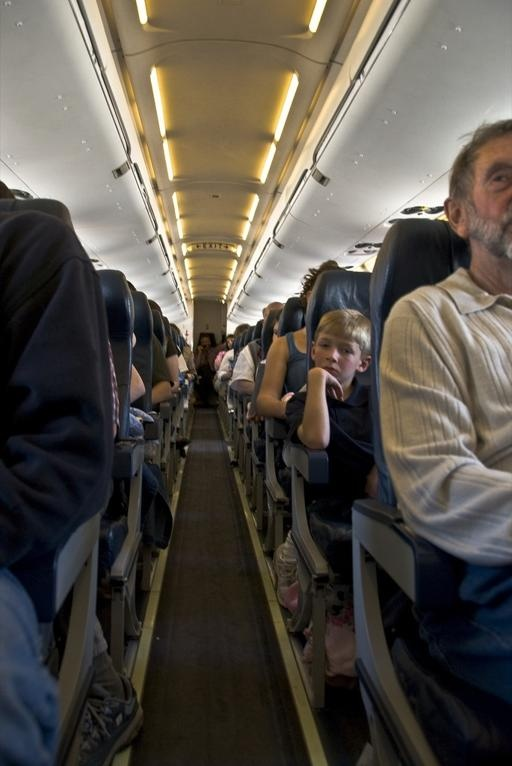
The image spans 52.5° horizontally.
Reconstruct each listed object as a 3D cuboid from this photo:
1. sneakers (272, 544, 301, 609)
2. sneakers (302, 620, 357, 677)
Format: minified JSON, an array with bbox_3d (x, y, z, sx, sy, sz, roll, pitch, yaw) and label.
[{"bbox_3d":[0.133,0.872,2.316,0.086,0.291,0.203,2,-14,-1],"label":"sneakers"},{"bbox_3d":[0.265,0.848,1.694,0.129,0.206,0.071,1,6,4],"label":"sneakers"}]
